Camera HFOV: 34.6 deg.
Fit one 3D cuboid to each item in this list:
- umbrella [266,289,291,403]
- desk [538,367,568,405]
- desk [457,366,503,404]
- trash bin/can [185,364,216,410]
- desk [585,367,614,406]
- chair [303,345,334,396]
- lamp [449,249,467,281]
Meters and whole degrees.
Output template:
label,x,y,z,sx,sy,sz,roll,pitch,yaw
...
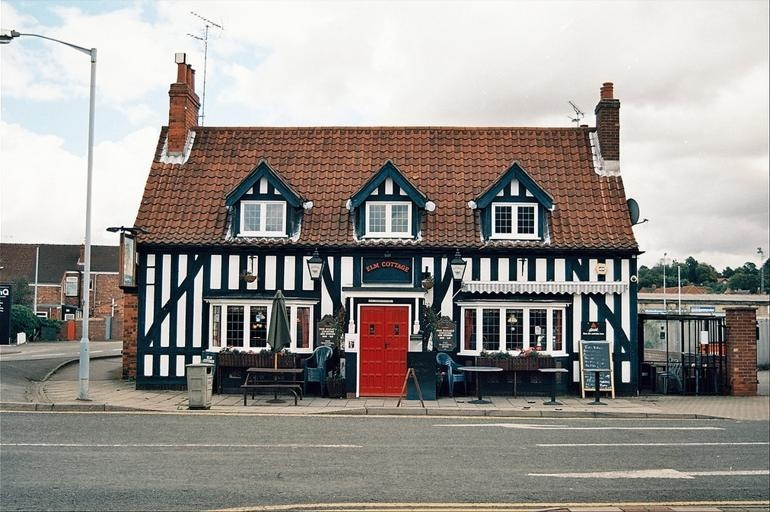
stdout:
label,x,y,z,sx,sy,sz,roll,pitch,yaw
umbrella,-4.114,2.861,47.885,0.884,3.435,1.596,1,-12,-5
desk,6.502,5.043,47.709,1.225,1.572,1.283,1,-3,-1
desk,3.649,4.971,47.219,1.757,1.351,1.808,8,-8,-35
trash bin/can,-6.844,4.772,45.425,1.186,1.592,1.185,-4,-5,44
desk,8.165,5.096,47.541,0.980,1.218,1.002,0,-5,-1
chair,-2.635,4.437,48.200,1.162,1.965,0.864,-4,-12,19
lamp,2.899,0.245,48.768,0.690,1.259,0.830,0,-12,3
